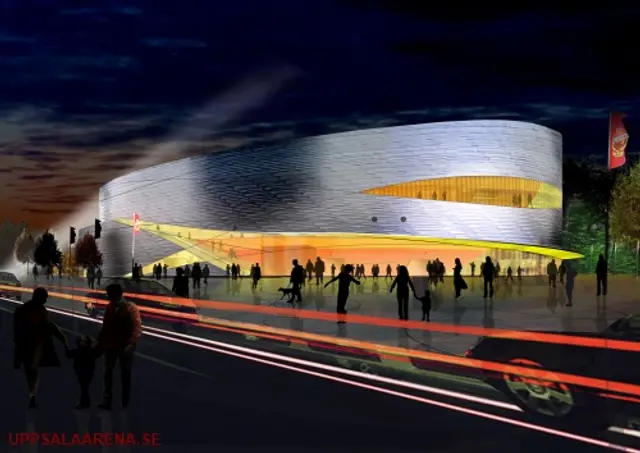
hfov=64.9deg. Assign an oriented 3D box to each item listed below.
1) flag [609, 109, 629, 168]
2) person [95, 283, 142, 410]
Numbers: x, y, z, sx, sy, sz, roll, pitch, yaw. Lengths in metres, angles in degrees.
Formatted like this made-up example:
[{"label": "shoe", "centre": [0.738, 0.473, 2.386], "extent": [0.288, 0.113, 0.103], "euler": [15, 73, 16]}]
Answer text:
[{"label": "flag", "centre": [21.245, -6.188, 35.996], "extent": [1.062, 3.771, 3.333], "euler": [0, -3, 31]}, {"label": "person", "centre": [-3.084, 1.741, 7.711], "extent": [0.606, 1.751, 0.834], "euler": [3, -4, -20]}]
